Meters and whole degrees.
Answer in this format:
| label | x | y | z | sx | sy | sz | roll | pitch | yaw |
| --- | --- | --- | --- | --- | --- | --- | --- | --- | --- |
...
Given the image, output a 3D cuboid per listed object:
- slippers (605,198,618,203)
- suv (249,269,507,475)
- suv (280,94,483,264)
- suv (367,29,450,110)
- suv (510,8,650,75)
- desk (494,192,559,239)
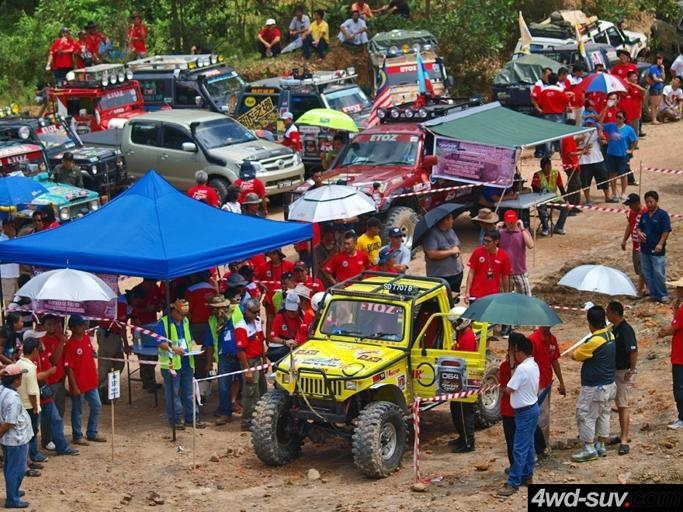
| label | x | y | z | sx | sy | sz | roll | pitch | yaw |
| --- | --- | --- | --- | --- | --- | --- | --- | --- | --- |
| slippers | 6.419 | -1.322 | 30.923 | 0.279 | 0.118 | 0.114 | 0 | 14 | 8 |
| suv | 0.786 | 1.878 | 21.480 | 2.727 | 2.361 | 3.706 | 5 | 10 | 34 |
| suv | 1.609 | -1.985 | 29.595 | 2.721 | 2.935 | 6.151 | 6 | 18 | 39 |
| suv | 1.960 | -5.213 | 37.366 | 2.219 | 2.121 | 3.754 | -4 | 22 | 5 |
| suv | 7.343 | -6.608 | 39.203 | 3.734 | 2.161 | 2.433 | -30 | 38 | -30 |
| desk | 3.938 | -0.900 | 27.893 | 0.839 | 0.780 | 0.941 | -15 | 20 | -39 |
